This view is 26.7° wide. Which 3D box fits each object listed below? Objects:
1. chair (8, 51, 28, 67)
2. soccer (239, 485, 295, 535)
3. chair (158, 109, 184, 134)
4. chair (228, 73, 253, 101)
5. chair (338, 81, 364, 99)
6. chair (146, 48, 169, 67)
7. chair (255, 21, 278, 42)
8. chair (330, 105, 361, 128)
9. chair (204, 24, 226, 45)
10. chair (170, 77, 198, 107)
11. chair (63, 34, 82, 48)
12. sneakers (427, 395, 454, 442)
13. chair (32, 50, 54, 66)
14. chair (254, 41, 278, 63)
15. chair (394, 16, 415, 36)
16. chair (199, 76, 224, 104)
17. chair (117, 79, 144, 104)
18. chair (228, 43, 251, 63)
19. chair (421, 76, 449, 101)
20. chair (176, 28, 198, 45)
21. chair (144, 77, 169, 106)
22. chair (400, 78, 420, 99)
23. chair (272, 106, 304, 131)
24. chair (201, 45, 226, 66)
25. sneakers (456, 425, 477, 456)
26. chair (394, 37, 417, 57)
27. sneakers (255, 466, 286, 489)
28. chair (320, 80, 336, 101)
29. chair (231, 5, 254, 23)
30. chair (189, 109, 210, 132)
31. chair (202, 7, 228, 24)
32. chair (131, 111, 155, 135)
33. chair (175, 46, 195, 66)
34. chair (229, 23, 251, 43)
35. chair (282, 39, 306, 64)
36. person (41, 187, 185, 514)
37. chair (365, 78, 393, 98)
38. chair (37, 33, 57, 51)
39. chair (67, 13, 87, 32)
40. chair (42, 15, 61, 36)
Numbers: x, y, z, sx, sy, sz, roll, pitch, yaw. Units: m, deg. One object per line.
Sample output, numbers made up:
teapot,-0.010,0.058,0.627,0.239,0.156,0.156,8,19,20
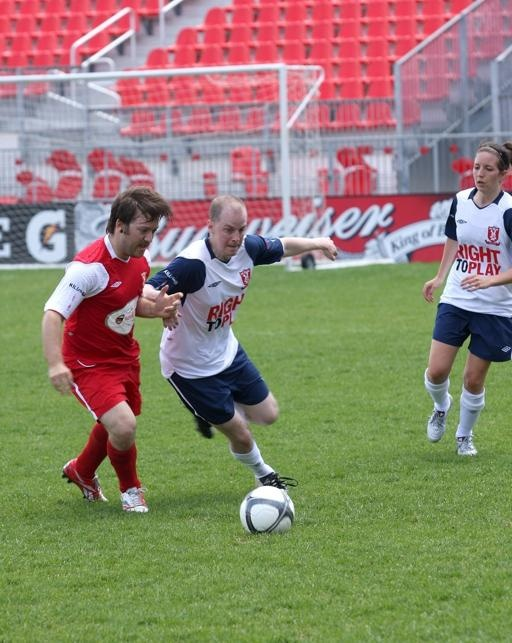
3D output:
chair,-4.551,-5.033,20.664,0.247,0.292,0.438,-13,14,-43
soccer,0.054,0.864,4.977,0.212,0.195,0.212,3,-16,30
chair,-1.204,-2.868,15.591,0.257,0.364,0.378,0,7,1
chair,-0.211,-3.275,15.130,0.349,0.292,0.329,-9,20,-9
chair,1.653,-4.035,18.806,0.509,0.366,0.482,-1,4,3
chair,-1.760,-4.670,19.185,0.411,0.369,0.510,-4,10,-2
chair,0.208,-5.302,19.875,0.408,0.328,0.407,5,12,31
chair,1.359,-3.141,16.447,0.448,0.395,0.366,3,12,6
chair,-0.751,-5.202,19.681,0.408,0.252,0.410,-1,14,10
chair,-1.030,-3.257,15.382,0.410,0.351,0.385,1,18,3
chair,-3.592,-5.373,20.675,0.335,0.301,0.401,1,11,25
sneakers,1.001,0.564,6.057,0.103,0.284,0.127,17,7,30
chair,-4.033,-4.988,20.417,0.526,0.313,0.361,6,14,43
chair,0.184,-4.872,19.585,0.480,0.287,0.453,-2,21,7
chair,2.618,-5.209,19.226,0.380,0.378,0.368,0,-6,-1
chair,-0.614,-3.267,15.316,0.411,0.350,0.314,-1,6,-14
chair,-1.777,-3.256,15.463,0.382,0.346,0.390,-1,5,-1
chair,-0.296,-4.801,19.412,0.422,0.319,0.400,-1,4,-7
chair,2.684,-3.493,16.357,0.382,0.364,0.363,0,0,-6
chair,-1.258,-5.169,19.621,0.396,0.312,0.281,-4,10,-2
chair,-1.407,-3.271,15.418,0.342,0.381,0.150,-4,11,-4
chair,2.328,-3.523,16.382,0.294,0.327,0.268,0,-1,-2
chair,0.428,-2.713,14.777,0.288,0.363,0.370,6,47,8
chair,-0.787,-4.718,19.217,0.495,0.282,0.432,-2,40,0
sneakers,1.128,0.663,5.834,0.072,0.073,0.184,-2,10,-3
chair,2.595,-4.790,18.827,0.334,0.346,0.500,-5,10,-8
sneakers,0.085,0.766,5.265,0.076,0.082,0.130,-6,-32,-5
chair,1.238,-4.018,18.712,0.241,0.310,0.364,-1,10,16
chair,-0.249,-5.691,20.047,0.380,0.220,0.360,-2,16,-5
chair,-0.786,-2.928,15.662,0.325,0.290,0.307,3,21,5
chair,-0.757,-5.661,20.069,0.366,0.309,0.337,-8,20,-34
chair,-1.630,-2.862,15.548,0.356,0.336,0.237,-4,10,-5
chair,-1.274,-4.725,19.259,0.392,0.346,0.325,-4,10,-2
chair,-0.296,-5.253,19.720,0.404,0.241,0.402,6,17,34
chair,0.675,-4.827,19.496,0.528,0.463,0.497,-6,27,6
person,-0.670,0.169,5.085,0.630,1.572,0.755,-6,11,-11
chair,2.117,-4.032,18.546,0.436,0.337,0.560,-2,10,5
chair,-4.003,-5.354,20.668,0.372,0.336,0.339,-5,10,-8
chair,-3.476,-5.785,21.061,0.377,0.329,0.378,2,7,33
chair,-3.962,-5.754,20.932,0.389,0.398,0.396,-5,10,-10
